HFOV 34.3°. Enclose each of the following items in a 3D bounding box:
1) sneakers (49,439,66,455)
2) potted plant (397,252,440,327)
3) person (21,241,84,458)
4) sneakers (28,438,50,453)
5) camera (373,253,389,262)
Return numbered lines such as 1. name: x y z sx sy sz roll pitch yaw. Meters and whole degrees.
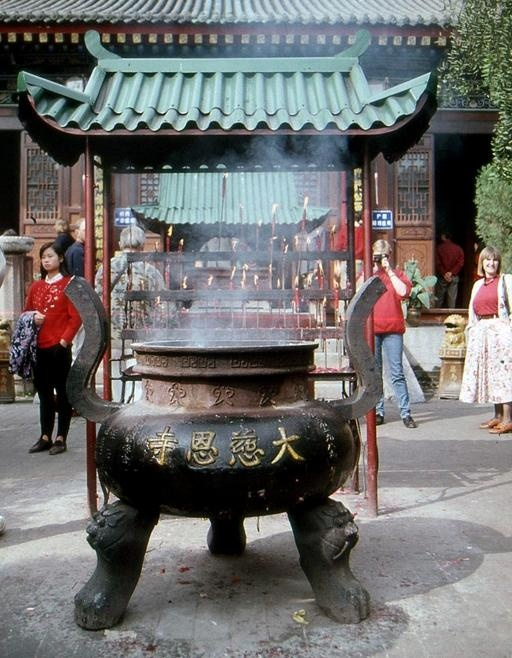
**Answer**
1. sneakers: -1.446 0.854 6.036 0.115 0.091 0.156 -1 5 -14
2. potted plant: 2.115 -0.510 11.004 0.621 0.450 0.719 -2 21 -7
3. person: -1.492 0.136 6.115 0.397 1.546 0.547 -1 4 -15
4. sneakers: -1.607 0.858 6.117 0.063 0.075 0.180 -3 -6 27
5. camera: 0.966 -0.569 6.555 0.092 0.048 0.130 1 4 15
